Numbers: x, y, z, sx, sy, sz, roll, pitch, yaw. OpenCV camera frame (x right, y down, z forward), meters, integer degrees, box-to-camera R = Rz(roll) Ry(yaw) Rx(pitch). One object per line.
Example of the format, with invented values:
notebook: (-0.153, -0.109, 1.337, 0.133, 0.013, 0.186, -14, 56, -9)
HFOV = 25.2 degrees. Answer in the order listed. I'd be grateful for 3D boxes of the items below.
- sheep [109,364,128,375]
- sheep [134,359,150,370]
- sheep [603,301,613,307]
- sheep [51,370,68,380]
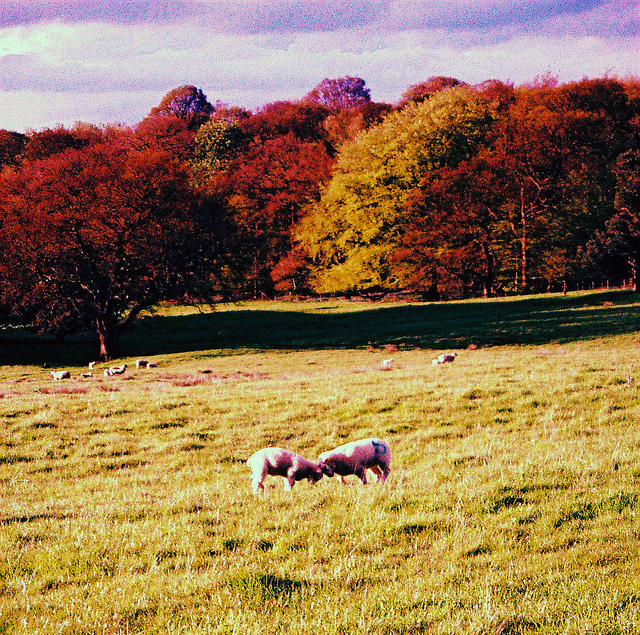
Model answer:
sheep: (-12.671, 3.248, 90.900, 1.408, 1.011, 0.437, -2, 7, -34)
sheep: (-11.786, 2.953, 94.206, 0.343, 0.953, 1.502, 8, 11, 24)
sheep: (21.945, -1.135, 109.523, 0.501, 0.319, 0.543, 1, -2, -22)
sheep: (-16.409, 3.526, 89.714, 0.437, 0.904, 1.347, -2, 2, -37)
